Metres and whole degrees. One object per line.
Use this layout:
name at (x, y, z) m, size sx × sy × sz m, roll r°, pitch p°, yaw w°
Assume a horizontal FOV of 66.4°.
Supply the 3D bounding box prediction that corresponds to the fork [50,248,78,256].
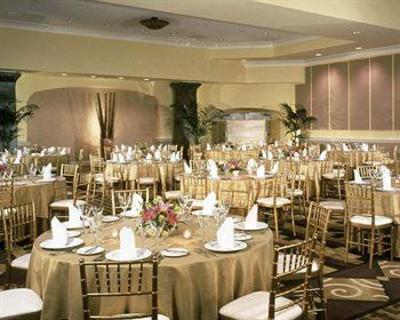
fork at (-1.001, 0.665, 2.210) m, size 0.306 × 0.052 × 0.053 m, roll -10°, pitch 29°, yaw 36°

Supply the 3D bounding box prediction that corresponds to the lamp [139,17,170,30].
lamp at (-1.320, -3.830, 8.630) m, size 0.507 × 0.166 × 0.499 m, roll 1°, pitch 1°, yaw 19°

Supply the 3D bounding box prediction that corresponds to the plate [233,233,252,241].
plate at (0.344, 0.625, 2.473) m, size 0.136 × 0.026 × 0.118 m, roll 0°, pitch 6°, yaw 5°

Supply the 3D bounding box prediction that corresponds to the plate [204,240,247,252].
plate at (0.200, 0.634, 2.277) m, size 0.325 × 0.033 × 0.235 m, roll 0°, pitch 5°, yaw -2°

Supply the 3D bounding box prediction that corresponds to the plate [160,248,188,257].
plate at (-0.177, 0.647, 2.170) m, size 0.204 × 0.024 × 0.180 m, roll -1°, pitch 5°, yaw -7°
